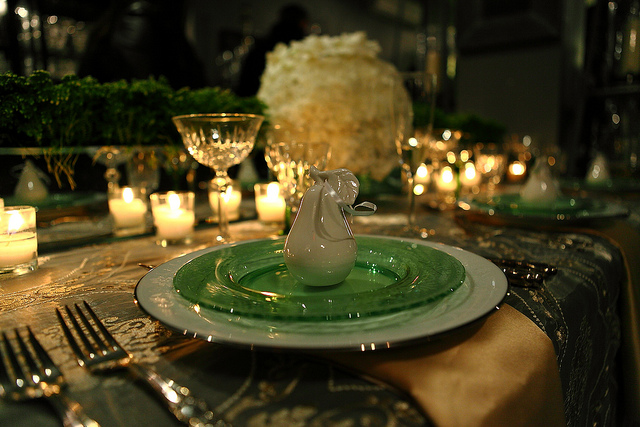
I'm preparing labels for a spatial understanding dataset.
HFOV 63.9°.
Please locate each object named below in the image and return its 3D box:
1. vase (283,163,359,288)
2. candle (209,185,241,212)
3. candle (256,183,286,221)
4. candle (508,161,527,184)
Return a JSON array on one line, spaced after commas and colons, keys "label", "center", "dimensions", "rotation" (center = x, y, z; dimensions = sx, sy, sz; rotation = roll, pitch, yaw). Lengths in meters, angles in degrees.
[{"label": "vase", "center": [0.001, 0.027, 1.066], "dimensions": [0.151, 0.234, 0.153], "rotation": [2, 13, 5]}, {"label": "candle", "center": [-0.276, -0.042, 1.488], "dimensions": [0.074, 0.060, 0.079], "rotation": [1, 5, 3]}, {"label": "candle", "center": [-0.133, -0.041, 1.437], "dimensions": [0.095, 0.107, 0.097], "rotation": [7, 12, 22]}, {"label": "candle", "center": [0.917, -0.188, 2.365], "dimensions": [0.094, 0.112, 0.096], "rotation": [4, 8, 41]}]
